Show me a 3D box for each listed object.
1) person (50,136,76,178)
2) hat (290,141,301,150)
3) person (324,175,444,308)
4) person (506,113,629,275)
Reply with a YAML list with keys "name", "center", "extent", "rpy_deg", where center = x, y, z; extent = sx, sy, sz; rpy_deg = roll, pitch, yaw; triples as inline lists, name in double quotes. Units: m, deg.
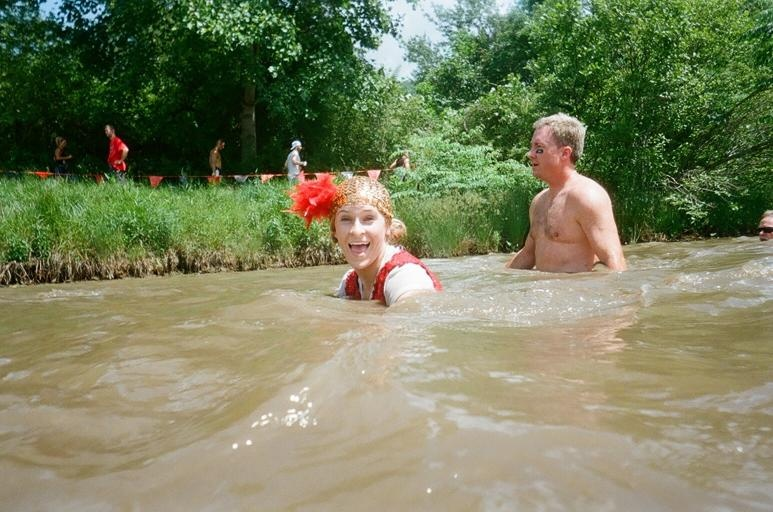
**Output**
- name: "person"
  center: [-8.981, -2.572, 16.263]
  extent: [0.483, 1.400, 0.446]
  rpy_deg: [1, 28, -20]
- name: "hat"
  center: [-2.313, -2.851, 15.069]
  extent: [0.187, 0.291, 0.708]
  rpy_deg: [-5, 2, -11]
- name: "person"
  center: [-0.033, -0.060, 4.377]
  extent: [0.727, 0.954, 1.073]
  rpy_deg: [1, -5, -34]
- name: "person"
  center: [1.683, -0.634, 5.442]
  extent: [0.682, 1.540, 1.127]
  rpy_deg: [-6, 3, -27]
